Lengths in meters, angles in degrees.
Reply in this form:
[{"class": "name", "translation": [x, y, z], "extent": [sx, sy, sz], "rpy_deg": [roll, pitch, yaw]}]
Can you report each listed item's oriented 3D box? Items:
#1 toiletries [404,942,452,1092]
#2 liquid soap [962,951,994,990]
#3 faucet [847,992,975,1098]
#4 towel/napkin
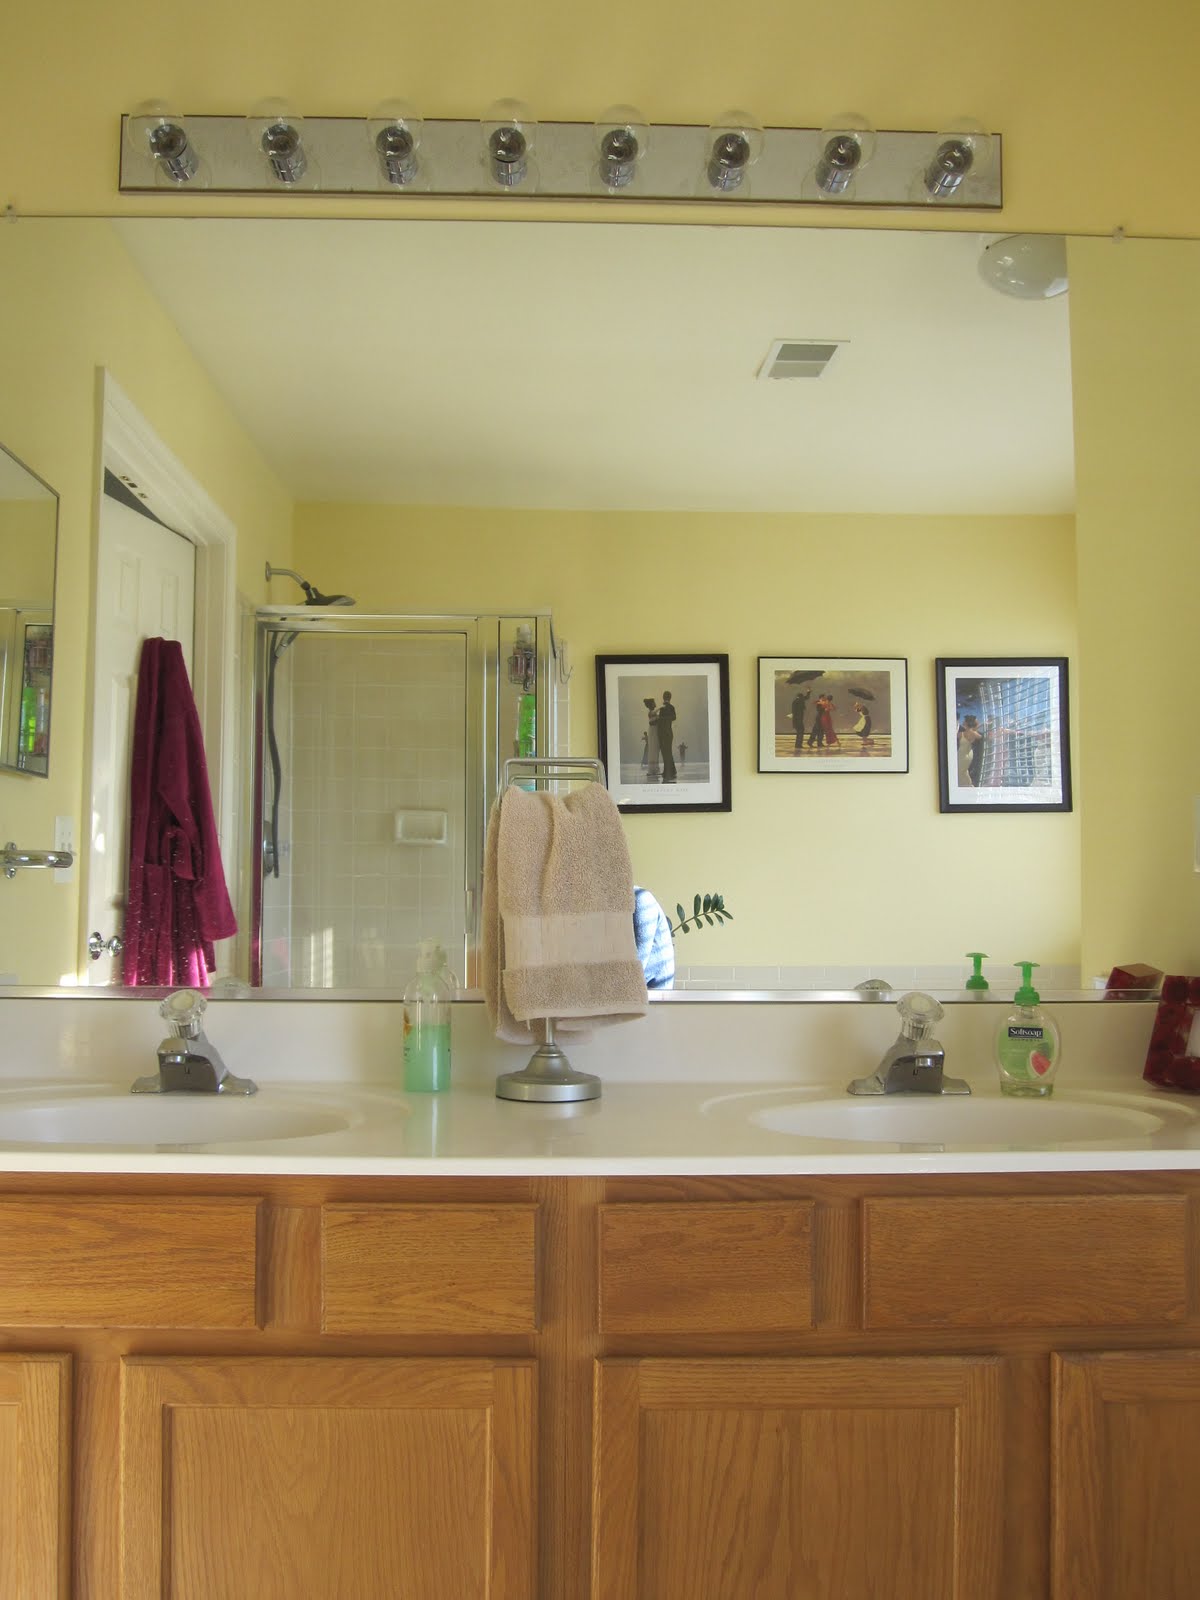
[{"class": "toiletries", "translation": [-0.224, 0.287, 1.906], "extent": [0.064, 0.180, 0.136], "rpy_deg": [0, -3, -7]}, {"class": "liquid soap", "translation": [0.517, 0.239, 2.007], "extent": [0.045, 0.069, 0.042], "rpy_deg": [1, -4, -14]}, {"class": "faucet", "translation": [0.402, 0.328, 1.912], "extent": [0.129, 0.105, 0.051], "rpy_deg": [0, 0, 2]}, {"class": "towel/napkin", "translation": [-0.044, 0.143, 1.854], "extent": [0.219, 0.315, 0.097], "rpy_deg": [1, -17, -18]}]
